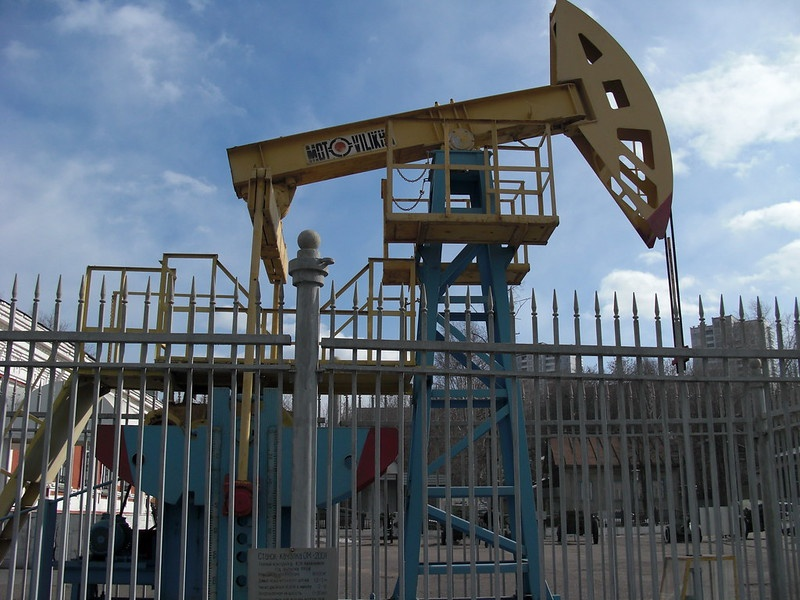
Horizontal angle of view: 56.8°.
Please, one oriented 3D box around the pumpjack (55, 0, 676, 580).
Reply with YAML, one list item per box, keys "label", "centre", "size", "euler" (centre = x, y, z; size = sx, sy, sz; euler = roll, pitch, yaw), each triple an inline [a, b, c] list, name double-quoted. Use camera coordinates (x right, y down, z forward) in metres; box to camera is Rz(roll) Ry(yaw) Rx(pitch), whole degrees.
- label: "pumpjack"
  centre: [0.069, -0.934, 15.313]
  size: [8.840, 12.396, 8.425]
  euler: [2, -33, 0]
